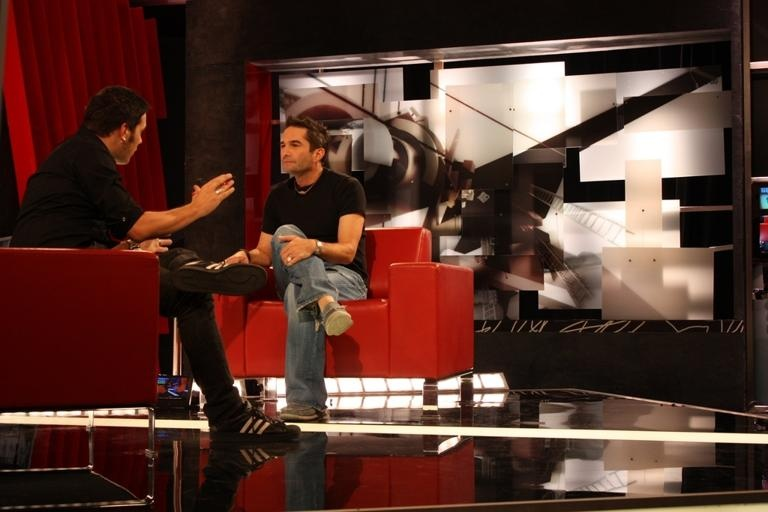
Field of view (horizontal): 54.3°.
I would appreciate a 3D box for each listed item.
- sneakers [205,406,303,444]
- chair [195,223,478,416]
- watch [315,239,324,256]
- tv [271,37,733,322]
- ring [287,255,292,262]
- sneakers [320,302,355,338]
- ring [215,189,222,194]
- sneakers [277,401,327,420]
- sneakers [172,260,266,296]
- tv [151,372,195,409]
[{"bbox_3d":[-0.587,0.769,3.426,0.430,0.179,0.154,1,-1,-8],"label":"sneakers"},{"bbox_3d":[-0.257,0.304,4.469,1.389,0.936,0.736,-3,-5,21],"label":"chair"},{"bbox_3d":[-0.338,-0.039,3.904,0.065,0.072,0.075,1,4,-9],"label":"watch"},{"bbox_3d":[0.841,-0.462,5.515,3.153,1.903,0.031,4,22,16],"label":"tv"},{"bbox_3d":[-0.483,0.014,3.785,0.020,0.025,0.008,-4,-25,11],"label":"ring"},{"bbox_3d":[-0.236,0.315,3.676,0.113,0.093,0.191,-41,-11,-13],"label":"sneakers"},{"bbox_3d":[-0.794,-0.307,3.582,0.021,0.020,0.005,-2,-27,-1],"label":"ring"},{"bbox_3d":[-0.401,0.766,3.761,0.204,0.090,0.098,5,-5,-13],"label":"sneakers"},{"bbox_3d":[-0.698,0.074,3.313,0.433,0.155,0.180,3,4,3],"label":"sneakers"},{"bbox_3d":[-1.166,0.753,4.163,0.202,0.178,0.137,8,-5,-32],"label":"tv"}]
